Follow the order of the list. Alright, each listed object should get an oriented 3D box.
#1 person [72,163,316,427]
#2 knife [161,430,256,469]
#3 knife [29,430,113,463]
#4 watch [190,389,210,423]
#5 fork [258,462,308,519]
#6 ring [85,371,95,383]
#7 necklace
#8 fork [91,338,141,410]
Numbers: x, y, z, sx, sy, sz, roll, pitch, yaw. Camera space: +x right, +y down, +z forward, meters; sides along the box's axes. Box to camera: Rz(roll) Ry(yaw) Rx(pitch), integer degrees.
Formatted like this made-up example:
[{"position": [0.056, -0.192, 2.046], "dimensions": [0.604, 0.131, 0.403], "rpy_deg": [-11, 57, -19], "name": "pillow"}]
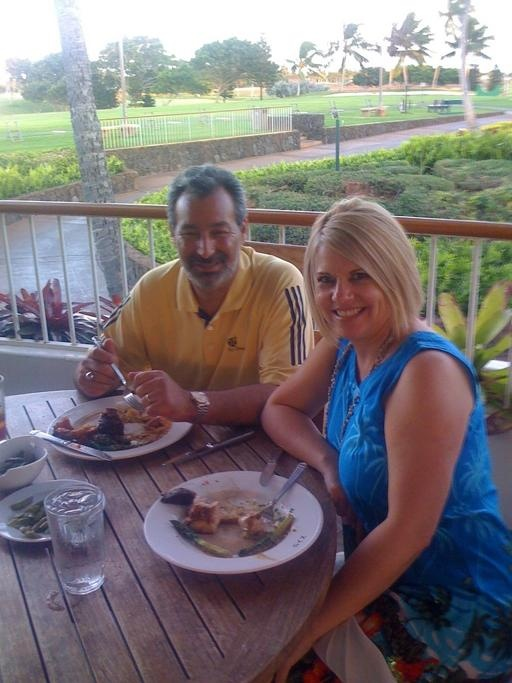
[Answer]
[{"position": [-0.191, -0.120, 1.596], "dimensions": [0.783, 0.708, 0.568], "rpy_deg": [8, 18, 22], "name": "person"}, {"position": [-0.110, 0.240, 1.145], "dimensions": [0.198, 0.013, 0.027], "rpy_deg": [-11, 24, -41], "name": "knife"}, {"position": [-0.398, 0.227, 1.112], "dimensions": [0.231, 0.010, 0.034], "rpy_deg": [11, 28, 36], "name": "knife"}, {"position": [-0.132, 0.156, 1.265], "dimensions": [0.054, 0.018, 0.064], "rpy_deg": [-4, 53, -10], "name": "watch"}, {"position": [0.047, 0.280, 0.988], "dimensions": [0.033, 0.019, 0.144], "rpy_deg": [10, 22, 22], "name": "fork"}, {"position": [-0.460, 0.095, 1.428], "dimensions": [0.021, 0.025, 0.007], "rpy_deg": [-1, -11, 6], "name": "ring"}, {"position": [0.232, 0.105, 1.255], "dimensions": [0.143, 0.056, 0.233], "rpy_deg": [5, 60, 41], "name": "necklace"}, {"position": [-0.398, 0.091, 1.453], "dimensions": [0.033, 0.028, 0.225], "rpy_deg": [-34, 67, -3], "name": "fork"}]
